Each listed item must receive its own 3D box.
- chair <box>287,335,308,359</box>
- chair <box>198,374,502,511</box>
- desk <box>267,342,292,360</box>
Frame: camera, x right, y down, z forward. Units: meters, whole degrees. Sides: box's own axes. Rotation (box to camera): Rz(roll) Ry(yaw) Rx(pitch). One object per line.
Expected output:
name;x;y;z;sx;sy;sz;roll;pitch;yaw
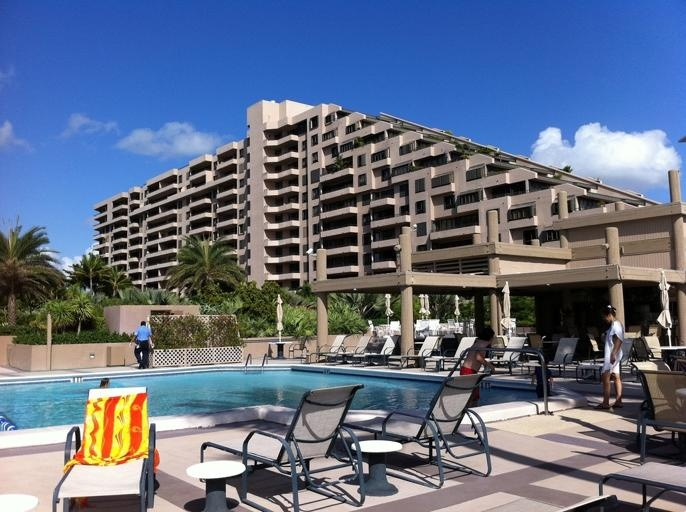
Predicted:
chair;-2.245;4.571;27.929;1.002;1.012;3.184;1;-7;-4
chair;0.167;2.288;7.239;3.296;1.373;1.790;5;-9;-35
desk;-3.158;4.663;27.666;1.040;0.782;2.089;1;-7;-7
